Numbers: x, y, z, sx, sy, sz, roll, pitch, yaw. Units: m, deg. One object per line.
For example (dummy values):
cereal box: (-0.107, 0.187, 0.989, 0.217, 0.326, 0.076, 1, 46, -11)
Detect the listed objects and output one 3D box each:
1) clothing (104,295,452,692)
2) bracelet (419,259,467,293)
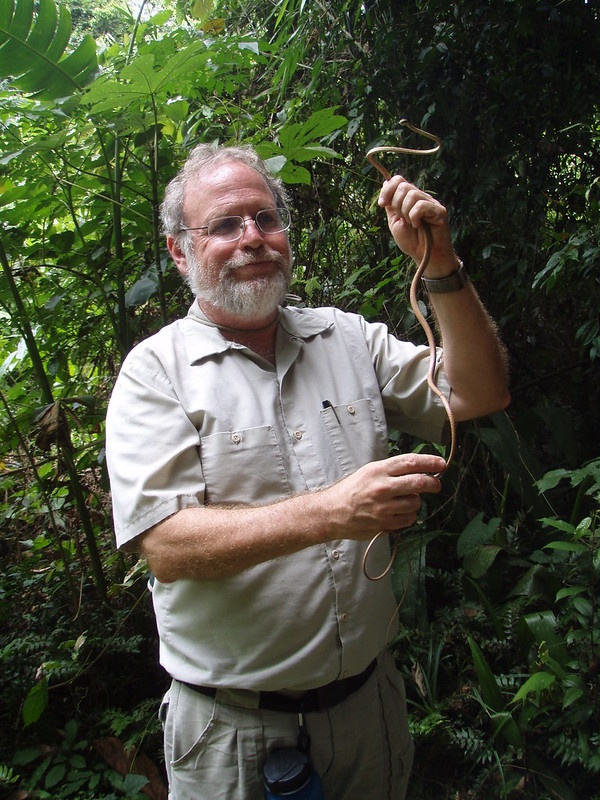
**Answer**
clothing: (-0.035, 0.210, 1.623, 0.980, 0.812, 0.498, -3, 4, -35)
bracelet: (0.302, -0.254, 1.476, 0.097, 0.055, 0.098, -5, 9, -21)
